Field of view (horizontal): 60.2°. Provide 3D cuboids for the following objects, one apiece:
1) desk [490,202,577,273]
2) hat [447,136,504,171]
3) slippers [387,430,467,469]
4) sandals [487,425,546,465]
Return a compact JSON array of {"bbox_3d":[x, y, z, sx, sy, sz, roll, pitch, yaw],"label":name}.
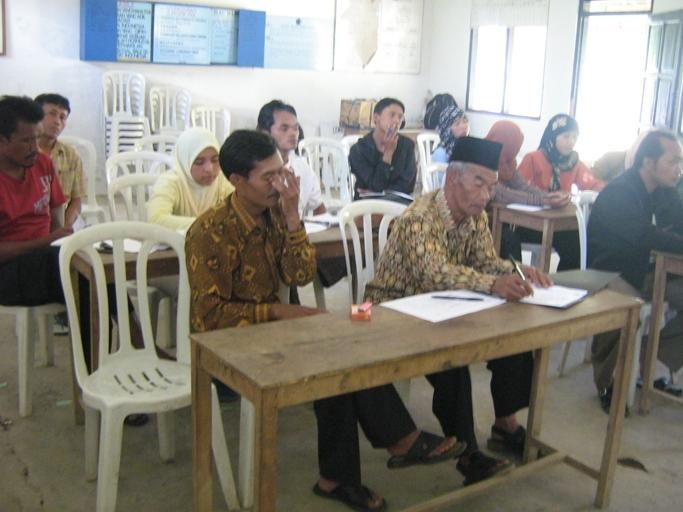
[{"bbox_3d":[1.236,-0.196,3.972,0.502,0.483,0.495,-8,13,-37],"label":"desk"},{"bbox_3d":[0.561,-0.433,2.527,0.161,0.094,0.163,10,9,-16],"label":"hat"},{"bbox_3d":[0.373,0.797,2.510,0.287,0.120,0.155,-10,-1,-1],"label":"slippers"},{"bbox_3d":[0.820,0.864,2.759,0.246,0.110,0.117,6,9,40],"label":"sandals"}]
